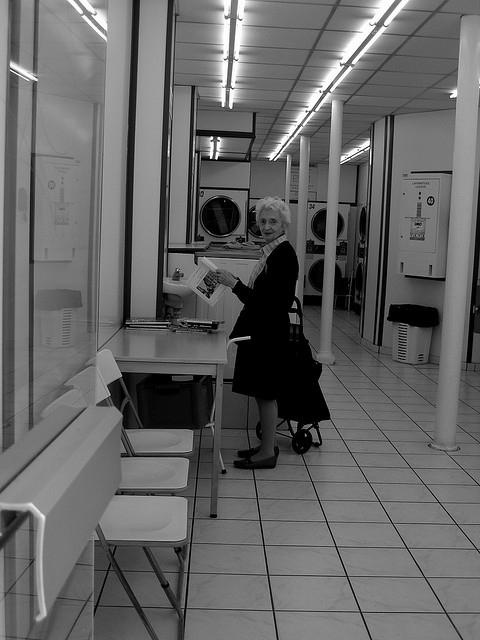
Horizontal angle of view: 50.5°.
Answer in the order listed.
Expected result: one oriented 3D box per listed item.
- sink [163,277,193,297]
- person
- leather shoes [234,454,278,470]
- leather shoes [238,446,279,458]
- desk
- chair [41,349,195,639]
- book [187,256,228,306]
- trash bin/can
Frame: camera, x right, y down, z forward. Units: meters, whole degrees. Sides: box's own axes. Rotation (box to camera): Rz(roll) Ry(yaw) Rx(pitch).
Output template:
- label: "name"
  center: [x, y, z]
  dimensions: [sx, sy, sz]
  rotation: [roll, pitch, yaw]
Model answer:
- label: "sink"
  center: [-0.514, -0.258, 4.138]
  dimensions: [0.187, 0.092, 0.164]
  rotation: [13, 22, 2]
- label: "person"
  center: [0.128, 0.107, 3.501]
  dimensions: [0.482, 1.894, 0.396]
  rotation: [3, 6, 6]
- label: "leather shoes"
  center: [0.113, 1.004, 3.575]
  dimensions: [0.290, 0.127, 0.116]
  rotation: [4, -4, -4]
- label: "leather shoes"
  center: [0.128, 0.974, 3.773]
  dimensions: [0.279, 0.092, 0.121]
  rotation: [3, -1, -5]
- label: "desk"
  center: [-0.446, 0.441, 3.252]
  dimensions: [0.748, 0.954, 1.170]
  rotation: [1, 4, -1]
- label: "chair"
  center: [-0.333, 0.555, 1.548]
  dimensions: [0.347, 0.748, 1.002]
  rotation: [-1, 3, -3]
- label: "book"
  center: [-0.220, -0.252, 3.529]
  dimensions: [0.282, 0.296, 0.094]
  rotation: [36, 15, 10]
- label: "trash bin/can"
  center: [2.615, 0.159, 7.664]
  dimensions: [0.697, 1.045, 0.763]
  rotation: [1, 2, 25]
